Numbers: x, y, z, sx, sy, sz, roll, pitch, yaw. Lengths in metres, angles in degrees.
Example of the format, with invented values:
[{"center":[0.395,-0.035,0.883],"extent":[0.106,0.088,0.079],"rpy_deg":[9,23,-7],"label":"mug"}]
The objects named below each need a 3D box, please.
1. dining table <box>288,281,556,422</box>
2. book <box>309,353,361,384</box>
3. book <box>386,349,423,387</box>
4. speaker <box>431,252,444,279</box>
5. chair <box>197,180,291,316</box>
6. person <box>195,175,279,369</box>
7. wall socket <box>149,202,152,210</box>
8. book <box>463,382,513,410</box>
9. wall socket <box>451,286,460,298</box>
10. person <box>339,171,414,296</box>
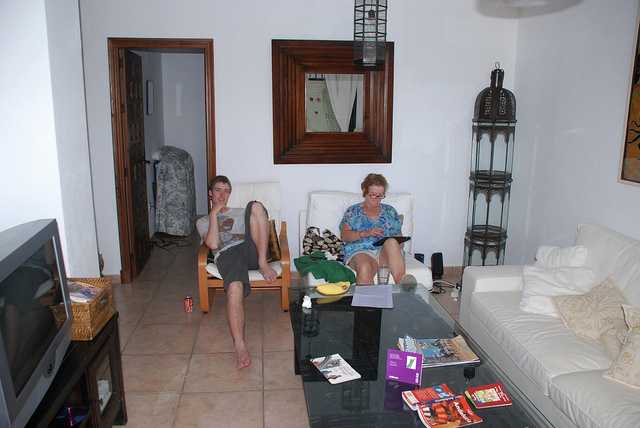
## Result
[{"center":[0.447,0.895,2.719],"extent":[0.838,0.325,1.318],"rpy_deg":[0,16,-9],"label":"dining table"},{"center":[0.085,0.927,2.620],"extent":[0.205,0.305,0.022],"rpy_deg":[-22,34,22],"label":"book"},{"center":[0.487,0.903,2.513],"extent":[0.178,0.158,0.025],"rpy_deg":[6,2,19],"label":"book"},{"center":[1.295,0.576,4.818],"extent":[0.131,0.307,0.198],"rpy_deg":[4,13,15],"label":"speaker"},{"center":[-0.630,0.128,4.047],"extent":[0.779,0.962,1.033],"rpy_deg":[6,-18,-15],"label":"chair"},{"center":[-0.680,0.400,3.850],"extent":[0.710,0.908,1.611],"rpy_deg":[-9,39,-27],"label":"person"},{"center":[-2.405,-0.106,6.142],"extent":[0.017,0.058,0.063],"rpy_deg":[13,-2,-35],"label":"wall socket"},{"center":[0.929,1.003,2.382],"extent":[0.147,0.016,0.108],"rpy_deg":[-4,21,-12],"label":"book"},{"center":[1.400,0.814,4.485],"extent":[0.065,0.026,0.128],"rpy_deg":[1,17,15],"label":"wall socket"},{"center":[0.469,0.146,3.918],"extent":[0.713,0.927,1.240],"rpy_deg":[3,13,10],"label":"person"}]
